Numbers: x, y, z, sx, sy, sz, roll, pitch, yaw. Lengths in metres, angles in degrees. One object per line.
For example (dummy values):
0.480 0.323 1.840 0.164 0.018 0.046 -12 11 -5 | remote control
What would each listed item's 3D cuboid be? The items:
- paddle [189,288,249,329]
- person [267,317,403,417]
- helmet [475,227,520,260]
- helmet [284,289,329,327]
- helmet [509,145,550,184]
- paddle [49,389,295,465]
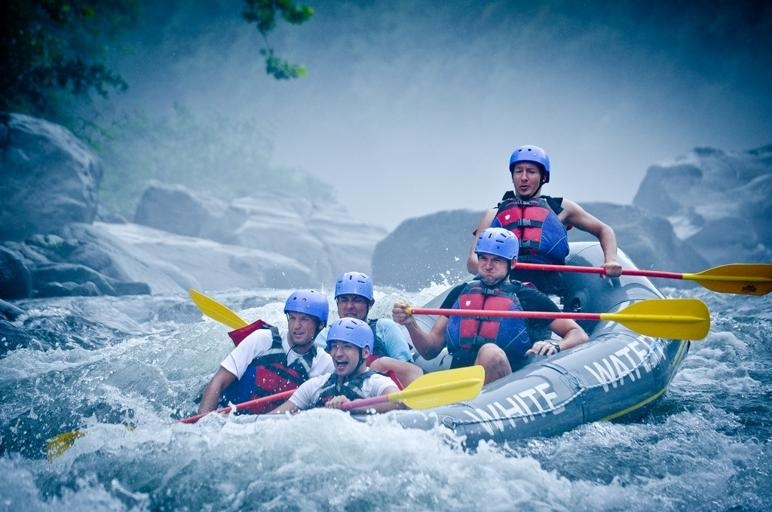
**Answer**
-2.968 0.924 10.201 1.388 0.331 0.136 31 15 15 | paddle
-0.478 1.413 6.797 1.561 1.305 0.954 -2 -26 19 | person
1.340 -0.176 6.922 0.328 0.477 0.342 7 6 29 | helmet
-0.897 0.610 7.120 0.397 0.483 0.509 7 -18 18 | helmet
1.931 -1.251 7.703 0.527 0.481 0.417 7 13 12 | helmet
-2.314 1.895 6.334 2.500 0.371 0.110 -11 20 -22 | paddle
